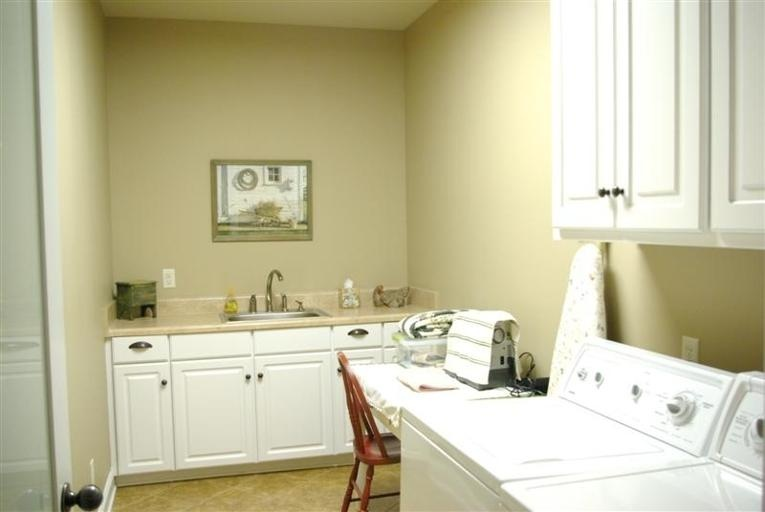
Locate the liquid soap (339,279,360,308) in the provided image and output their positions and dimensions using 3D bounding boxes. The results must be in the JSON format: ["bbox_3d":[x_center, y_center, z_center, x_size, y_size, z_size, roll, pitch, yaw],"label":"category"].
[{"bbox_3d":[-0.260,0.299,4.400,0.140,0.217,0.096,-3,6,-15],"label":"liquid soap"}]

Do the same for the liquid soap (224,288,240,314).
[{"bbox_3d":[-1.153,0.347,4.297,0.111,0.179,0.141,-3,6,-10],"label":"liquid soap"}]

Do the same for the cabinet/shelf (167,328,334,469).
[{"bbox_3d":[-0.896,0.939,4.060,1.108,0.968,0.472,-2,2,-10],"label":"cabinet/shelf"}]

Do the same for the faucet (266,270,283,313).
[{"bbox_3d":[-0.831,0.269,4.352,0.146,0.320,0.200,-3,6,-9],"label":"faucet"}]
